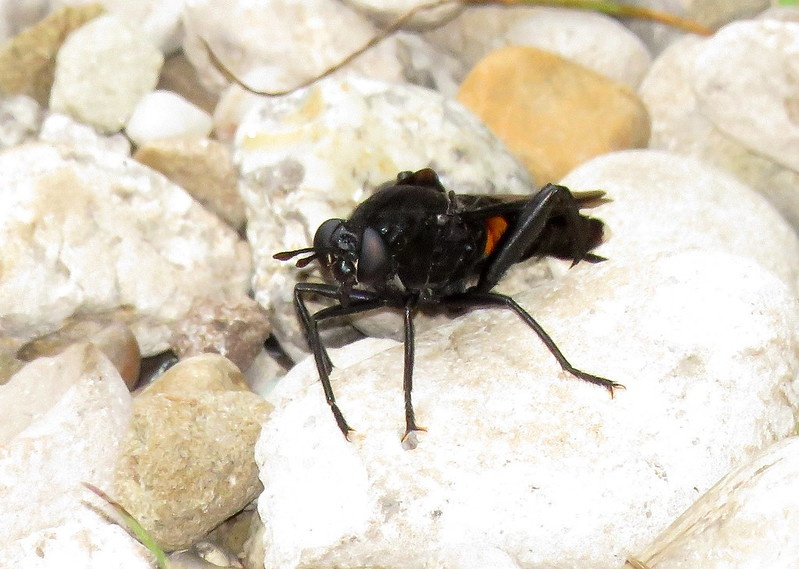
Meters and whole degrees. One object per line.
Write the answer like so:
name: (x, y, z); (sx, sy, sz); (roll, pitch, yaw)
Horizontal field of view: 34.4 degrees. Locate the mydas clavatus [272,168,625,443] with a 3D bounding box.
mydas clavatus: (0.216, -0.042, 5.114); (1.305, 0.745, 0.936); (-17, 77, -3)
